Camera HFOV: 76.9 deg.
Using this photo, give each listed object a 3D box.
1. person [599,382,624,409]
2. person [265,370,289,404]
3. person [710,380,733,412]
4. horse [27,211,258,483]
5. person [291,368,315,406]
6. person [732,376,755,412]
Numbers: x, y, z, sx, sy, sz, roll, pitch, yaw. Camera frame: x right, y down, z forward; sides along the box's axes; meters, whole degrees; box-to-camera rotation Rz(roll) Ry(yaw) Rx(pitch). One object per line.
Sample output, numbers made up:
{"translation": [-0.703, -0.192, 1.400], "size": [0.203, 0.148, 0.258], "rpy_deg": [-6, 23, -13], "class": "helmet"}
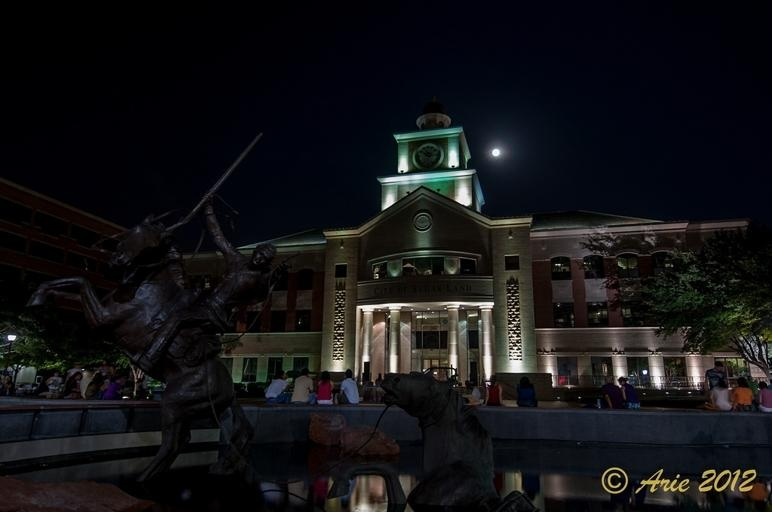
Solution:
{"translation": [7.554, 4.607, 16.142], "size": [0.587, 0.868, 2.133], "rpy_deg": [-7, -20, 24], "class": "person"}
{"translation": [-3.815, 4.625, 17.208], "size": [0.723, 1.112, 1.233], "rpy_deg": [5, -18, -10], "class": "person"}
{"translation": [10.959, 4.630, 15.822], "size": [0.515, 0.708, 0.775], "rpy_deg": [-5, -19, 19], "class": "person"}
{"translation": [-4.391, 1.600, 9.933], "size": [3.592, 5.603, 0.943], "rpy_deg": [6, -19, -13], "class": "horse"}
{"translation": [-2.985, 4.722, 17.432], "size": [0.767, 1.121, 2.737], "rpy_deg": [4, -18, -8], "class": "person"}
{"translation": [11.078, 4.286, 15.165], "size": [0.522, 1.067, 1.473], "rpy_deg": [-14, -24, 39], "class": "person"}
